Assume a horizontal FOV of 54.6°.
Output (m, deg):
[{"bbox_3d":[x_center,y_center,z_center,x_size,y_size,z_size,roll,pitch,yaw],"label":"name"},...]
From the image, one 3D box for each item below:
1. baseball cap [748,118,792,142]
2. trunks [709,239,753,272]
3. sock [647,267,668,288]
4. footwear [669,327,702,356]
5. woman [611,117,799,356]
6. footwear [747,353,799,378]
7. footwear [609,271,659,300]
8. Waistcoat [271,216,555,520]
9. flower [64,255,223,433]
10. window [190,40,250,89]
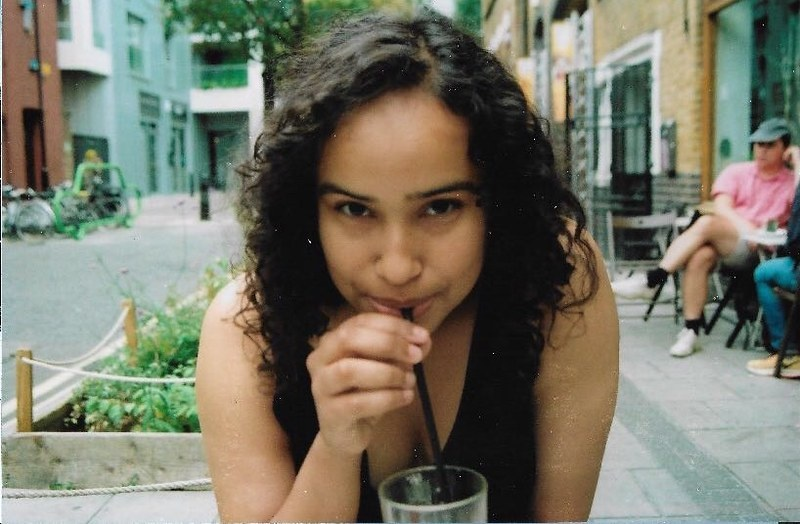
[{"bbox_3d":[1.397,-0.488,2.919,0.131,0.068,0.090,-1,1,-28],"label":"baseball cap"},{"bbox_3d":[1.253,-0.026,2.951,0.102,0.121,0.126,-6,-33,-42],"label":"trunks"},{"bbox_3d":[0.976,0.057,2.937,0.074,0.074,0.121,1,-14,16],"label":"sock"},{"bbox_3d":[1.078,0.297,2.921,0.159,0.069,0.056,-34,24,-33],"label":"footwear"},{"bbox_3d":[1.235,-0.100,2.948,0.567,0.879,0.177,-3,8,-20],"label":"woman"},{"bbox_3d":[1.387,0.382,2.834,0.235,0.080,0.089,-2,7,-13],"label":"footwear"},{"bbox_3d":[0.903,0.089,3.022,0.270,0.126,0.100,2,1,-1],"label":"footwear"},{"bbox_3d":[0.036,0.563,2.738,0.599,0.737,0.823,-1,-17,-4],"label":"Waistcoat"},{"bbox_3d":[-1.245,0.524,3.982,0.636,0.901,0.277,-5,-26,11],"label":"flower"},{"bbox_3d":[-0.745,-0.801,3.190,0.244,0.170,0.135,1,2,7],"label":"window"}]
